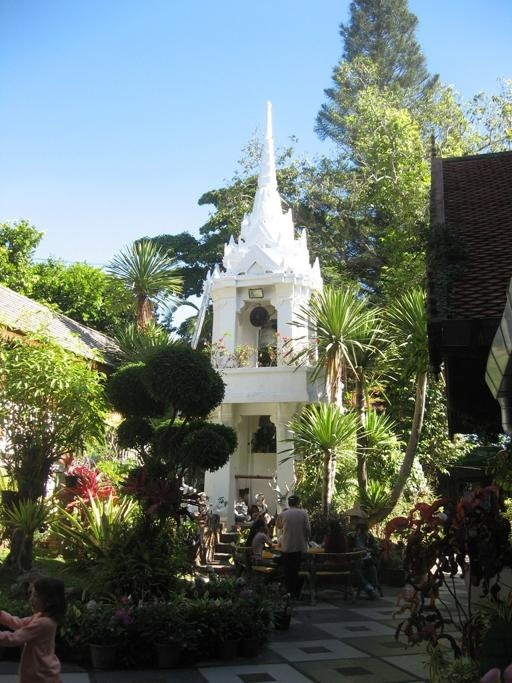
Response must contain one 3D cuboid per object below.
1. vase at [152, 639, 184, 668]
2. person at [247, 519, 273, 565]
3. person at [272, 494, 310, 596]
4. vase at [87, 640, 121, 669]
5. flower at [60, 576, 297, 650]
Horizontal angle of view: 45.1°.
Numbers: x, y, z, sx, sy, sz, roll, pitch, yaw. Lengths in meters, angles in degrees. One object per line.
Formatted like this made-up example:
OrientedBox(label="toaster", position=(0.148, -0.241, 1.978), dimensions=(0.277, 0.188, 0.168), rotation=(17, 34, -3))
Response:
OrientedBox(label="vase", position=(-0.795, 2.817, 5.579), dimensions=(0.230, 0.152, 0.218), rotation=(-1, -25, 3))
OrientedBox(label="person", position=(0.053, 3.095, 9.518), dimensions=(0.396, 0.867, 0.333), rotation=(-6, 24, -7))
OrientedBox(label="person", position=(0.480, 2.899, 8.551), dimensions=(0.454, 1.434, 0.780), rotation=(5, -5, 5))
OrientedBox(label="vase", position=(-1.374, 2.774, 5.498), dimensions=(0.239, 0.162, 0.227), rotation=(18, -22, -39))
OrientedBox(label="flower", position=(-0.819, 2.657, 5.906), dimensions=(1.272, 0.377, 0.994), rotation=(-11, -22, 20))
